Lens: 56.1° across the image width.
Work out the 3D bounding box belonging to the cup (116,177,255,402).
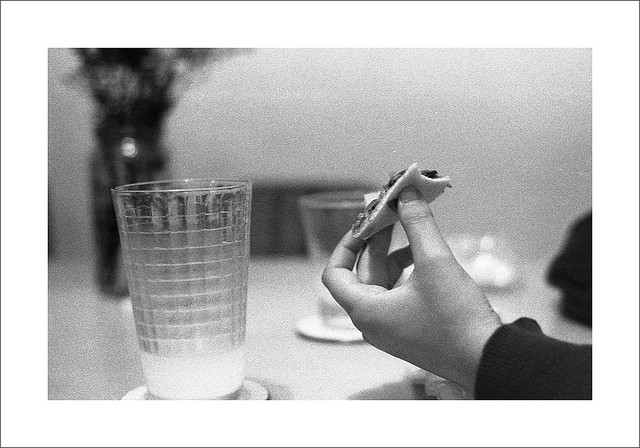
[{"bbox_3d":[-0.132,0.073,0.630,0.135,0.236,0.075,-4,10,-2],"label":"cup"}]

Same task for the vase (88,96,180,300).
[{"bbox_3d":[-0.238,-0.039,0.819,0.072,0.264,0.180,2,11,27],"label":"vase"}]

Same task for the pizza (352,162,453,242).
[{"bbox_3d":[0.103,-0.015,0.710,0.132,0.042,0.131,-35,-15,-2],"label":"pizza"}]
